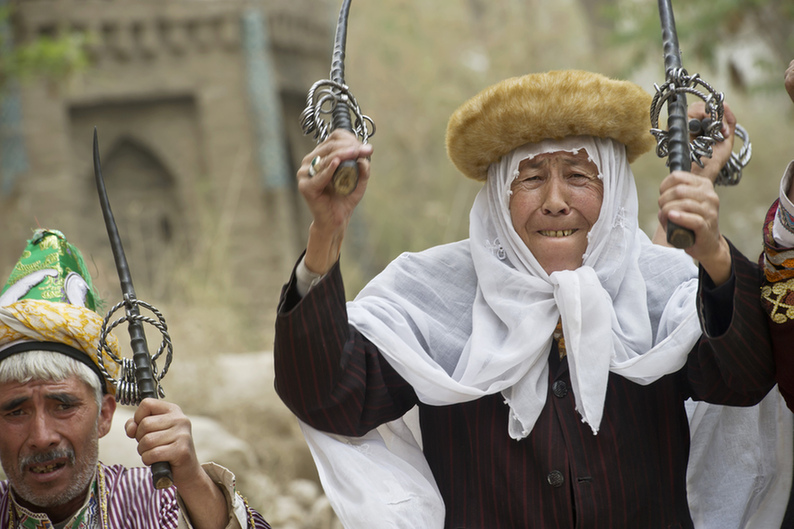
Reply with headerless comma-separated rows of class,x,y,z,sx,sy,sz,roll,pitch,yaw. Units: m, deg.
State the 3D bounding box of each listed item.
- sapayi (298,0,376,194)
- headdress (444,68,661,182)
sapayi,-0.422,-1.155,12.047,0.482,1.438,0.607,-7,-11,-3
headdress,1.084,-1.033,12.374,0.939,0.293,0.865,-6,-23,0
